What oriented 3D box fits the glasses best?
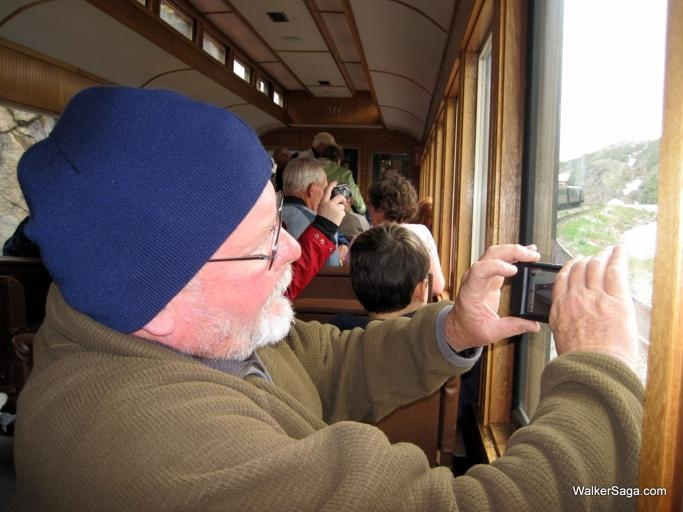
[{"bbox_3d":[-0.231,-0.069,1.261,0.158,0.049,0.160,-13,-18,4],"label":"glasses"}]
